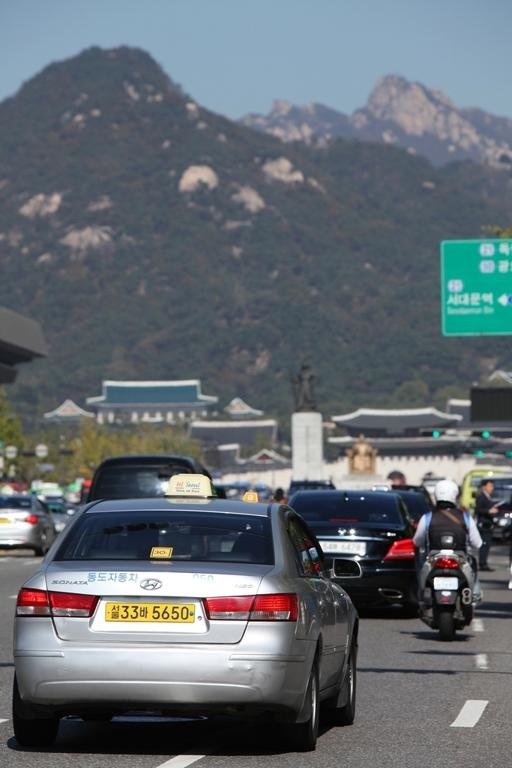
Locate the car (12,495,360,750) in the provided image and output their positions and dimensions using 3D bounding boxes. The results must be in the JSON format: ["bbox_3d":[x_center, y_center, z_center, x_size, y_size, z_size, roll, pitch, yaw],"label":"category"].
[{"bbox_3d":[-0.376,1.028,6.365,0.822,0.718,1.909,0,-3,8],"label":"car"}]

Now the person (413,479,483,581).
[{"bbox_3d":[1.683,1.210,11.953,0.422,0.584,0.931,1,9,4],"label":"person"}]

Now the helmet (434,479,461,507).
[{"bbox_3d":[1.697,0.970,12.085,0.185,0.225,0.238,4,1,13],"label":"helmet"}]

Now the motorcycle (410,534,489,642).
[{"bbox_3d":[1.645,1.764,11.767,0.436,0.898,0.437,-2,1,5],"label":"motorcycle"}]
